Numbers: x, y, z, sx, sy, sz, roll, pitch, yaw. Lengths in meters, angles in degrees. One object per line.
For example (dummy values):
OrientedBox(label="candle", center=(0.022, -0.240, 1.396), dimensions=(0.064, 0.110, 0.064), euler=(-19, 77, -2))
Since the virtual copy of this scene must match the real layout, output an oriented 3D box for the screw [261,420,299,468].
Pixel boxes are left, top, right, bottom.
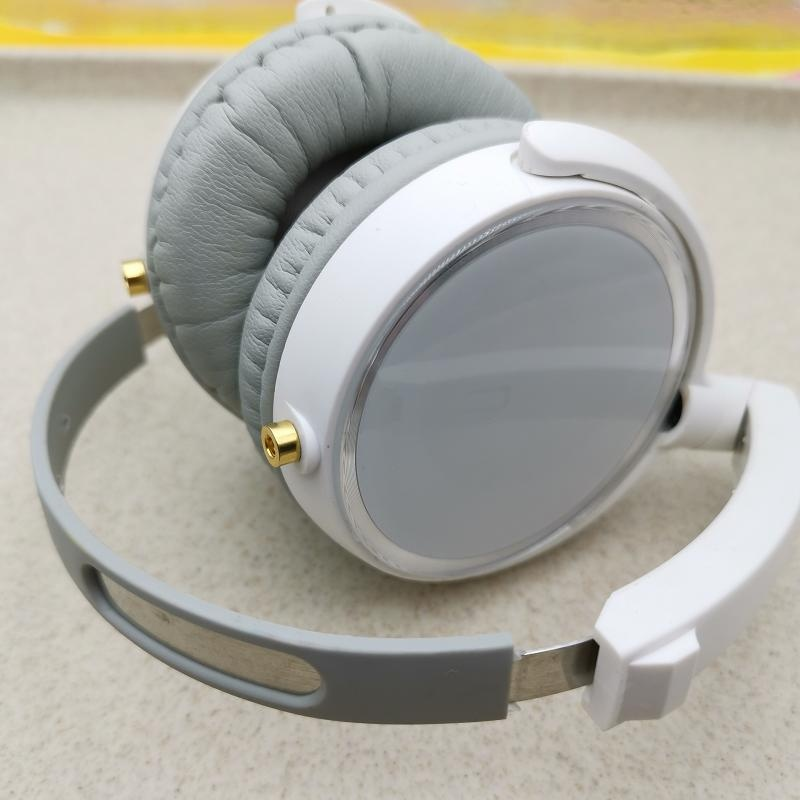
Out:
OrientedBox(label="screw", center=(-0.158, 0.048, 1.436), dimensions=(0.040, 0.077, 0.072), euler=(-6, 31, -13))
